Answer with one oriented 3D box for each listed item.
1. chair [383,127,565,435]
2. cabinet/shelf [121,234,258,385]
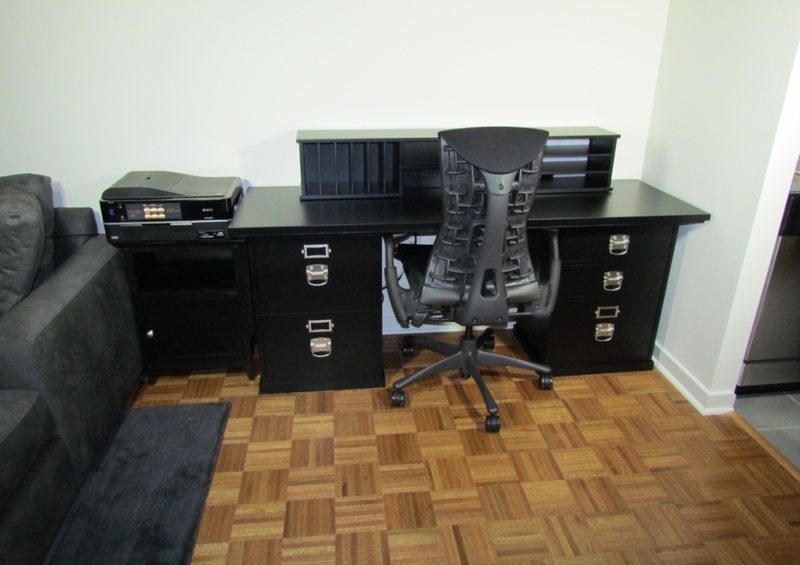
[{"bbox_3d":[0.400,-0.086,2.927,0.917,1.382,0.859,-6,17,-19],"label":"chair"},{"bbox_3d":[-1.171,0.067,3.278,0.773,0.830,0.725,3,16,16],"label":"cabinet/shelf"}]
